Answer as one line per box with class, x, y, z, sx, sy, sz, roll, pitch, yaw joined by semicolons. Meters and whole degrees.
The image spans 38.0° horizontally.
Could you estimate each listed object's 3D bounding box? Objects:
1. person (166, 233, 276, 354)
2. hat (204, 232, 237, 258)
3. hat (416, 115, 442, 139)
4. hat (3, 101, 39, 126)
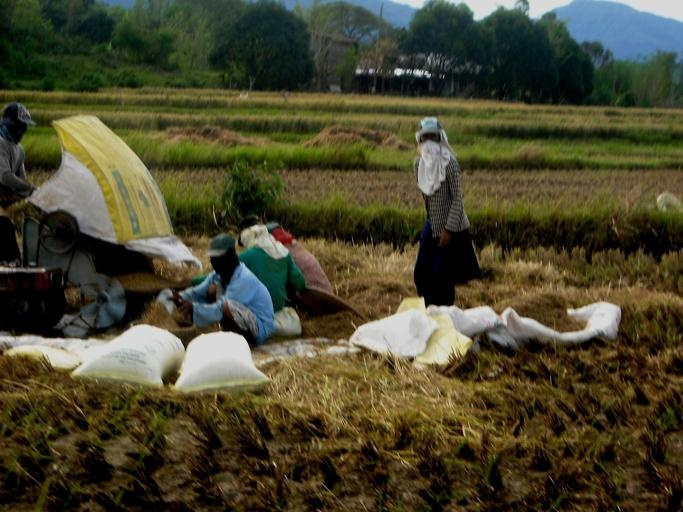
person;-1.225;0.361;10.607;0.995;1.192;0.444;0;11;-5
hat;-1.237;-0.132;10.583;0.185;0.171;0.285;-3;9;18
hat;0.970;-1.431;11.130;0.281;0.245;0.334;2;13;5
hat;-3.673;-1.616;11.389;0.317;0.200;0.230;-1;19;-45
